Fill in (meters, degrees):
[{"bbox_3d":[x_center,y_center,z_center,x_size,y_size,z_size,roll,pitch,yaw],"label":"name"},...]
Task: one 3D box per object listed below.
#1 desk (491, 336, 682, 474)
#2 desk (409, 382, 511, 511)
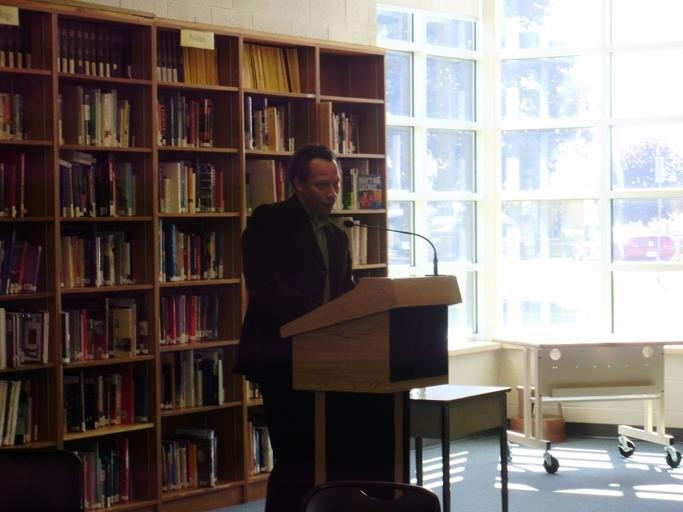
[{"bbox_3d":[1.940,1.081,5.406,1.303,0.959,0.725,0,3,-8],"label":"desk"},{"bbox_3d":[0.697,1.163,4.109,0.564,0.798,0.684,0,3,9],"label":"desk"}]
